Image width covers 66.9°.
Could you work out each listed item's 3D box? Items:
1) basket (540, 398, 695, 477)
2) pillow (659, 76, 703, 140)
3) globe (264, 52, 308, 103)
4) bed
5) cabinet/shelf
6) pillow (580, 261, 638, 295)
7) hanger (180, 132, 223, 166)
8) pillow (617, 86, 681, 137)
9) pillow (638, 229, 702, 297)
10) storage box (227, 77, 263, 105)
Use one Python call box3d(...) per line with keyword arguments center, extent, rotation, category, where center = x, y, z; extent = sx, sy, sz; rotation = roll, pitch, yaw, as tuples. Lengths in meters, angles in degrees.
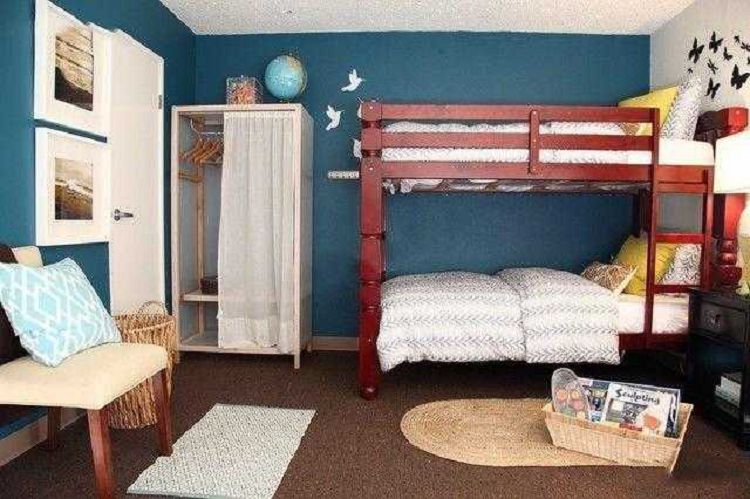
box3d(center=(1.573, 1.241, 3.689), extent=(0.731, 0.297, 0.500), rotation=(3, 4, 26), category="basket")
box3d(center=(2.472, -1.162, 4.595), extent=(0.138, 0.461, 0.473), rotation=(8, 14, 8), category="pillow")
box3d(center=(-0.831, -1.607, 5.215), extent=(0.391, 0.453, 0.402), rotation=(7, 19, 8), category="globe")
box3d(center=(1.372, -0.036, 4.610), extent=(2.980, 2.280, 0.870), rotation=(0, 11, -1), category="bed")
box3d(center=(-1.201, -0.156, 5.147), extent=(1.169, 2.279, 0.848), rotation=(1, 11, 4), category="cabinet/shelf")
box3d(center=(1.884, 0.221, 4.553), extent=(0.189, 0.217, 0.490), rotation=(4, 5, -13), category="pillow")
box3d(center=(-1.567, -0.931, 5.204), extent=(0.263, 0.157, 0.460), rotation=(5, 5, 4), category="hanger")
box3d(center=(2.244, -1.200, 4.755), extent=(0.549, 0.527, 0.164), rotation=(-2, -4, -10), category="pillow")
box3d(center=(2.410, 0.119, 4.532), extent=(0.189, 0.423, 0.405), rotation=(8, -4, -44), category="pillow")
box3d(center=(-1.153, -1.418, 5.133), extent=(0.299, 0.309, 0.305), rotation=(1, 14, 0), category="storage box")
